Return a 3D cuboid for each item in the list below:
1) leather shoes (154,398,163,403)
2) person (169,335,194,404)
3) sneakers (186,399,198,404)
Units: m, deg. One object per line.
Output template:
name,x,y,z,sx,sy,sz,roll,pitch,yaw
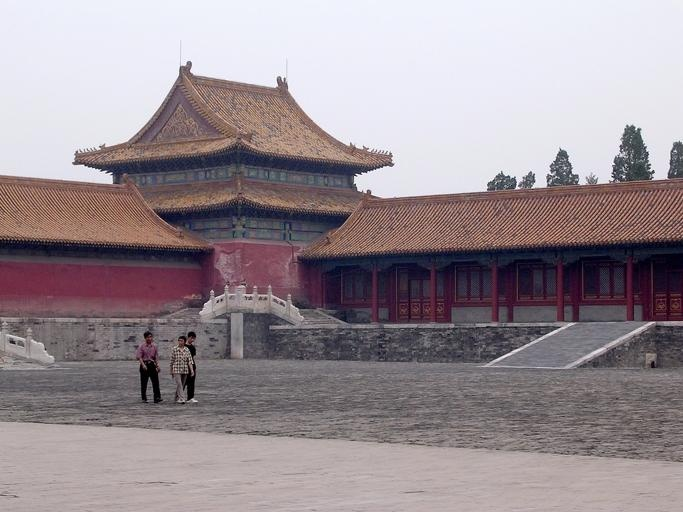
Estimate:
leather shoes,-3.940,3.138,32.756,0.243,0.070,0.157,-3,2,-20
person,-3.465,2.487,32.893,0.472,1.518,1.325,0,-10,-6
sneakers,-3.231,3.147,32.690,0.235,0.086,0.073,-10,-8,-6
